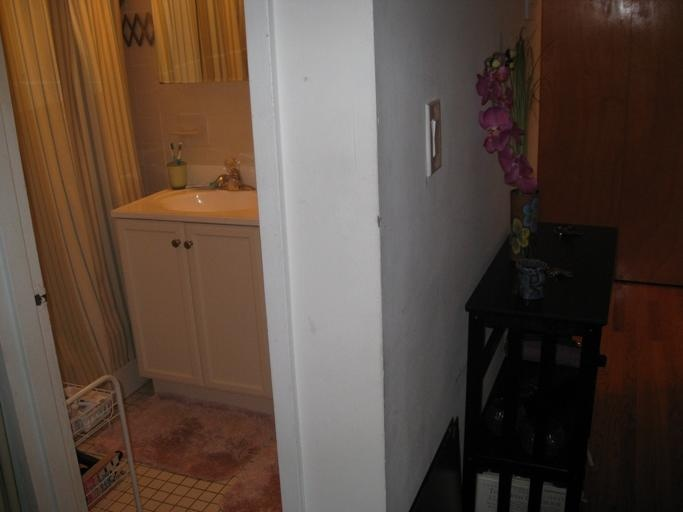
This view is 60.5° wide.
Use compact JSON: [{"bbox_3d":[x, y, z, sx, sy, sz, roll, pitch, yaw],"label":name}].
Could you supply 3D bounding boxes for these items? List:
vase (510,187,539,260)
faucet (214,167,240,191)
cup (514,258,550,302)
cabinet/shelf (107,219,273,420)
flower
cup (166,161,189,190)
[{"bbox_3d":[0.689,-0.117,2.182,0.080,0.281,0.067,5,25,19],"label":"vase"},{"bbox_3d":[-0.634,-0.429,3.284,0.125,0.076,0.106,-4,20,15],"label":"faucet"},{"bbox_3d":[0.639,0.072,1.954,0.117,0.153,0.115,-1,11,0],"label":"cup"},{"bbox_3d":[-0.700,0.225,3.217,0.802,1.108,0.626,3,30,1],"label":"cabinet/shelf"},{"bbox_3d":[0.617,-0.480,2.100,0.196,0.594,0.214,-6,19,1],"label":"flower"},{"bbox_3d":[-0.918,-0.449,3.283,0.129,0.169,0.134,1,12,0],"label":"cup"}]
